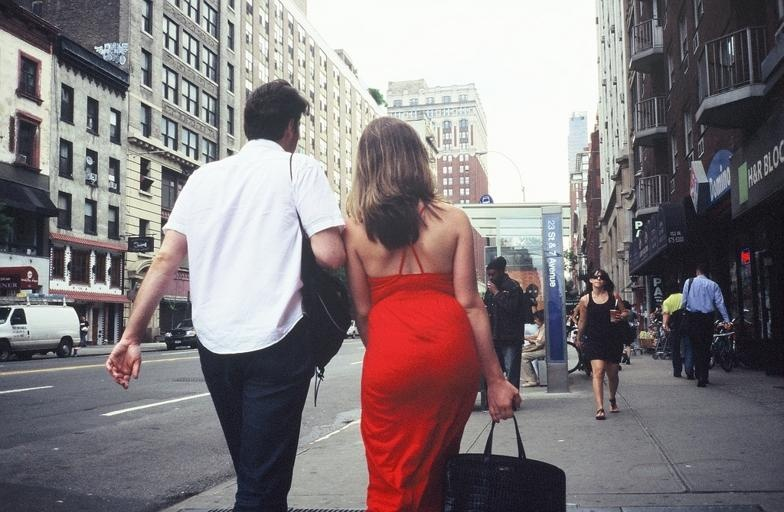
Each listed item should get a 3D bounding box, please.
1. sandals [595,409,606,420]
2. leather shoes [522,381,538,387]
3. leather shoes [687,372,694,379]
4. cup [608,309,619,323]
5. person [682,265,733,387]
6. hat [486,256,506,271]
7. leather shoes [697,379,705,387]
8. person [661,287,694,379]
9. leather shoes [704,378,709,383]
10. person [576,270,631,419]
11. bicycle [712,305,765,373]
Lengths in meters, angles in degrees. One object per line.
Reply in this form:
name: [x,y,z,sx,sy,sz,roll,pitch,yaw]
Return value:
sandals: [3.741,2.805,13.857,0.197,0.198,0.420,-2,-3,17]
leather shoes: [3.286,3.049,18.479,0.379,0.175,0.138,1,-3,12]
leather shoes: [7.106,2.822,18.406,0.131,0.275,0.140,7,-11,-15]
cup: [4.078,1.095,14.208,0.195,0.217,0.134,0,-13,22]
person: [7.192,1.621,17.565,0.993,2.978,0.905,-4,-30,31]
hat: [2.204,0.114,16.201,0.307,0.340,0.256,8,-24,3]
leather shoes: [6.811,2.758,16.974,0.200,0.143,0.178,-2,-3,14]
person: [7.146,1.853,19.376,0.703,2.368,0.710,-2,-15,3]
leather shoes: [6.943,2.727,17.059,0.136,0.105,0.138,-5,-11,30]
person: [3.848,1.556,14.248,0.846,2.794,1.295,-4,-6,26]
bicycle: [9.098,2.395,20.804,1.074,1.321,1.879,1,-10,-5]
